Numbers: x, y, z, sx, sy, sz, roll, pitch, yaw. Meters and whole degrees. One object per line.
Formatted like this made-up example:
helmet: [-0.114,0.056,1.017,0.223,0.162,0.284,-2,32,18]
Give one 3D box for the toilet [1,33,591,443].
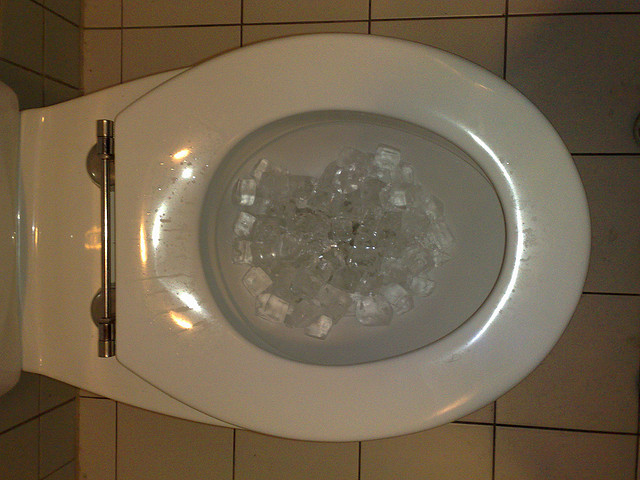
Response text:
toilet: [-0.005,0.012,1.430,1.063,0.631,0.801,-2,87,13]
